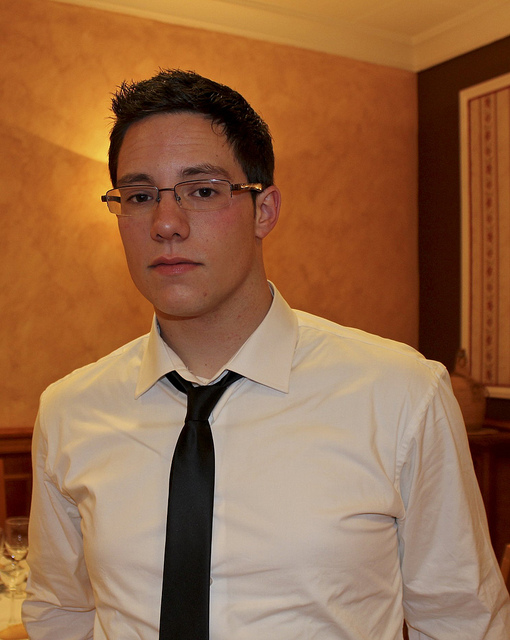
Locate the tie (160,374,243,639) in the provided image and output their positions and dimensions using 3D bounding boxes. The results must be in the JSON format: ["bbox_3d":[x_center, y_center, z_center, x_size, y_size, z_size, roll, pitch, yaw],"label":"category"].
[{"bbox_3d":[-0.097,0.294,1.043,0.075,0.361,0.197,0,-1,3],"label":"tie"}]

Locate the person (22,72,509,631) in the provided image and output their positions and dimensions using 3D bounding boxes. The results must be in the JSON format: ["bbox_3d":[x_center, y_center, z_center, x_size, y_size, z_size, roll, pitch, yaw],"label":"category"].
[{"bbox_3d":[-0.036,0.084,1.154,0.939,1.089,0.443,0,-1,14],"label":"person"}]
